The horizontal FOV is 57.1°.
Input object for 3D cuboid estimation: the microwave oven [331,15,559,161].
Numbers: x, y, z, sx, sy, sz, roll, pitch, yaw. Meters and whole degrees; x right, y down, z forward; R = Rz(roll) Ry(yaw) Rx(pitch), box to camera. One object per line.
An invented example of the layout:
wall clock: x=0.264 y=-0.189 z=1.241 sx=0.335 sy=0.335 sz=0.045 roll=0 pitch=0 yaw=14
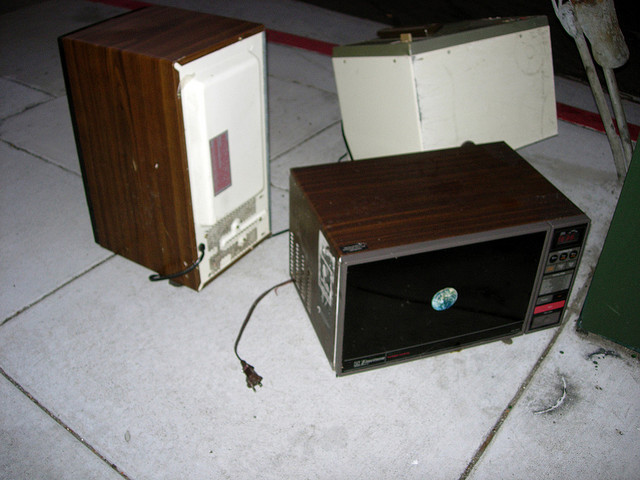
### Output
microwave oven: x=0.864 y=-0.785 z=3.275 sx=0.980 sy=0.698 sz=0.596 roll=-14 pitch=2 yaw=-20

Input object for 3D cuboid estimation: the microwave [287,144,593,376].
microwave: x=0.442 y=0.047 z=2.496 sx=1.106 sy=0.605 sz=0.655 roll=-10 pitch=39 yaw=-10

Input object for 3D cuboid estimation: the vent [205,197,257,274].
vent: x=-0.419 y=-0.024 z=2.723 sx=0.031 sy=0.246 sz=0.306 roll=30 pitch=47 yaw=19
